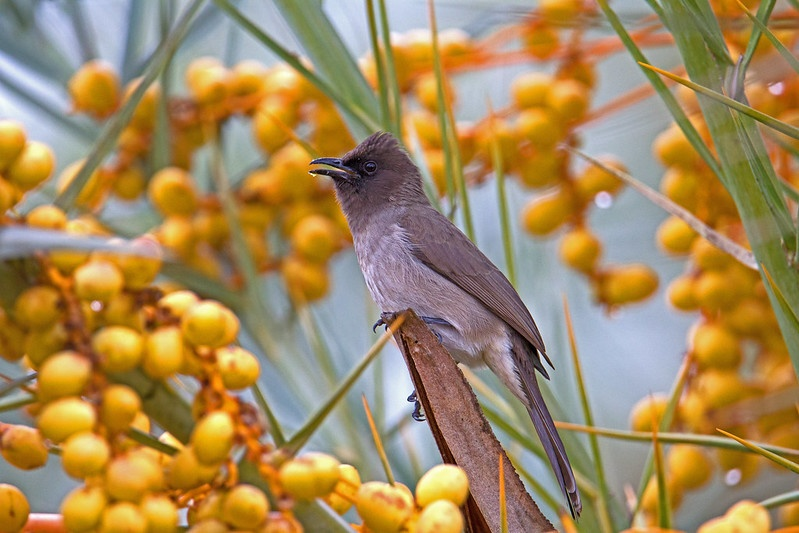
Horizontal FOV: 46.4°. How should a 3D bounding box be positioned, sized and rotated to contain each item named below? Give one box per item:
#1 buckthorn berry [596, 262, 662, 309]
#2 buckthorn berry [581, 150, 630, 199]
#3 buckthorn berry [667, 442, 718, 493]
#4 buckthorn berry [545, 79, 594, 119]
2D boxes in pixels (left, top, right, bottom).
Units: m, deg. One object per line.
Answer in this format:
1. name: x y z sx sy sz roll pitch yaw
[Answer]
1. buckthorn berry: 0.813 0.052 3.329 0.193 0.150 0.080 -22 -29 7
2. buckthorn berry: 0.713 -0.316 3.245 0.168 0.120 0.209 2 1 3
3. buckthorn berry: 0.967 0.675 3.215 0.174 0.212 0.179 1 -8 -7
4. buckthorn berry: 0.576 -0.574 3.177 0.137 0.112 0.105 19 -49 -19
